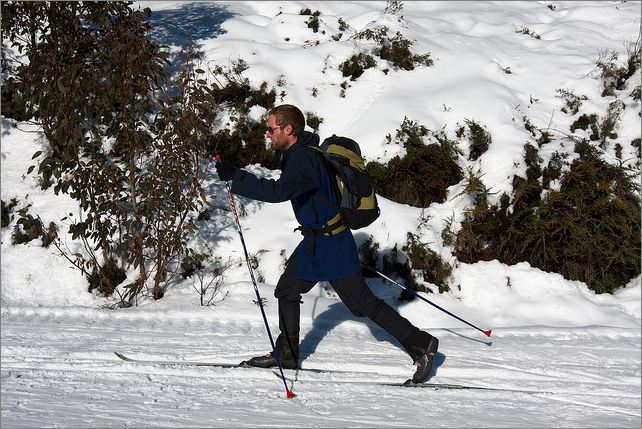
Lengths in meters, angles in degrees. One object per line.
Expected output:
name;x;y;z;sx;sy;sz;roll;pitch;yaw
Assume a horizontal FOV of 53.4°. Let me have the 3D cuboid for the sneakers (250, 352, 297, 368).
sneakers;-0.671;2.095;9.235;0.676;0.280;0.248;5;-5;0
